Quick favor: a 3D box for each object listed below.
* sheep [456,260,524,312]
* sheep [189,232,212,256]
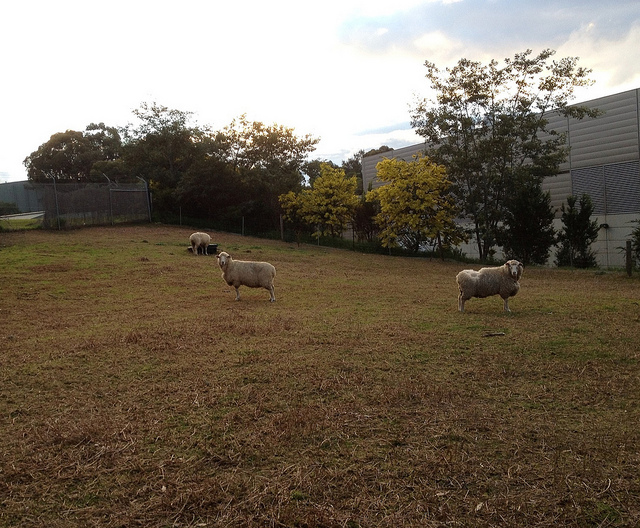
[{"bbox_3d":[3.910,0.498,11.994,1.377,1.240,0.751,-3,3,9],"label":"sheep"},{"bbox_3d":[-4.815,-0.988,21.886,0.430,1.110,1.269,5,11,22],"label":"sheep"}]
